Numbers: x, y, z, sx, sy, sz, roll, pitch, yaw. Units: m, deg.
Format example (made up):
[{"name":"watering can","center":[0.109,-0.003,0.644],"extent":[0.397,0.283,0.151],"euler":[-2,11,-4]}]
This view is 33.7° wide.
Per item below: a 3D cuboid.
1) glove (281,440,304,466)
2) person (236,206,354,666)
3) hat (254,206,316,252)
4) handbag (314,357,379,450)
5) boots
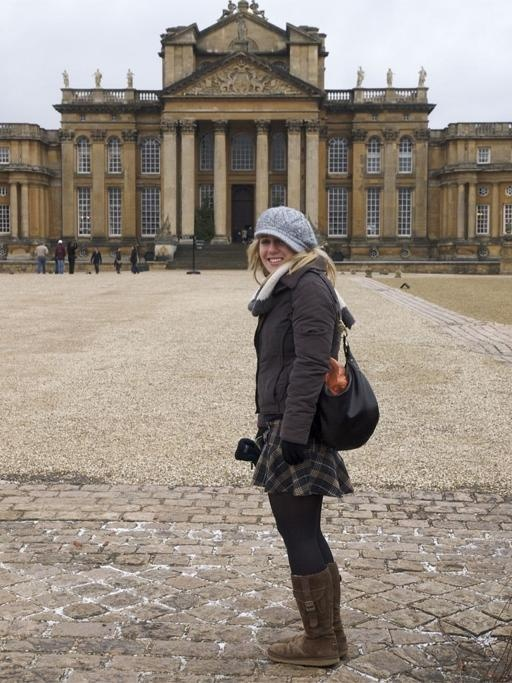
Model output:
[{"name":"glove","center":[0.141,0.412,3.144],"extent":[0.085,0.082,0.038],"euler":[-6,19,3]},{"name":"person","center":[0.191,0.372,3.433],"extent":[0.421,1.814,0.614],"euler":[-1,8,0]},{"name":"hat","center":[0.152,-0.479,3.586],"extent":[0.181,0.123,0.240],"euler":[12,-2,10]},{"name":"handbag","center":[0.346,0.253,3.241],"extent":[0.253,0.357,0.195],"euler":[-2,8,-9]},{"name":"boots","center":[0.256,1.116,3.533],"extent":[0.432,0.472,0.275],"euler":[0,-3,17]}]
